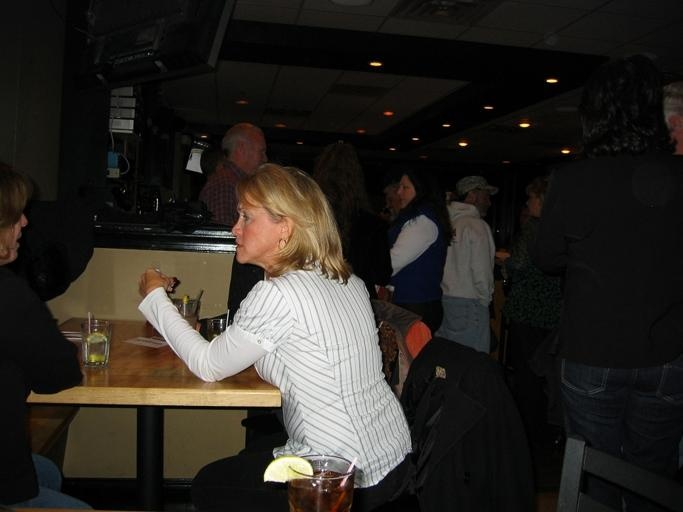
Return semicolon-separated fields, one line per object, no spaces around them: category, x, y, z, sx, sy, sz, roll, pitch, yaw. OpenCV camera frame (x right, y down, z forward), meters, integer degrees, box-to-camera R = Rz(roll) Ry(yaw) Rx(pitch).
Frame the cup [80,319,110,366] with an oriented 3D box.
cup;-0.863;0.304;1.830;0.108;0.158;0.106;3;-2;0

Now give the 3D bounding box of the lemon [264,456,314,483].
lemon;-0.107;0.443;1.052;0.117;0.057;0.021;-2;-6;31

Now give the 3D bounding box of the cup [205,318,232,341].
cup;-0.476;0.284;2.079;0.116;0.120;0.109;3;-7;0

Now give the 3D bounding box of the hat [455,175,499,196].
hat;1.135;-0.584;4.248;0.362;0.162;0.228;-4;10;-4
